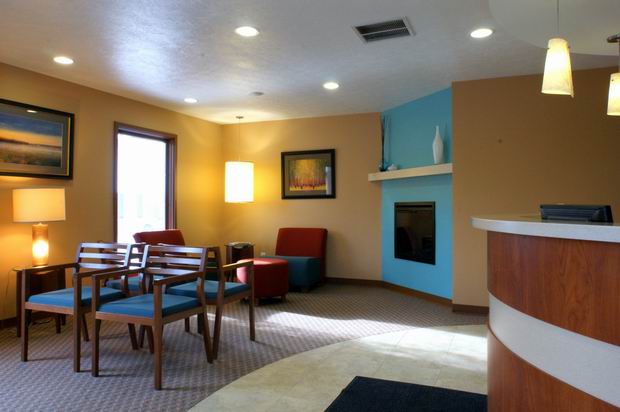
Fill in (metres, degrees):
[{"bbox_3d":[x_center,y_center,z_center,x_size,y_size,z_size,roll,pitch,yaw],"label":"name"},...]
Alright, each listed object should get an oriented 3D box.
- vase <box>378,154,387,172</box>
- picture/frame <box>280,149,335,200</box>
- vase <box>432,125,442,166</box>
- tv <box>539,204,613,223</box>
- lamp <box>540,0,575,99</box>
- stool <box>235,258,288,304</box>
[{"bbox_3d":[1.249,-0.720,7.615,0.132,0.276,0.253,2,7,14],"label":"vase"},{"bbox_3d":[-0.006,-0.585,8.172,0.915,0.787,0.069,0,2,19],"label":"picture/frame"},{"bbox_3d":[1.899,-0.905,6.627,0.172,0.576,0.339,2,7,16],"label":"vase"},{"bbox_3d":[1.906,0.058,3.195,0.443,0.125,0.300,4,8,27],"label":"tv"},{"bbox_3d":[2.074,-1.165,3.727,0.276,0.475,0.214,1,7,6],"label":"lamp"},{"bbox_3d":[-0.719,1.097,6.781,0.789,0.655,0.793,-1,-3,-10],"label":"stool"}]
